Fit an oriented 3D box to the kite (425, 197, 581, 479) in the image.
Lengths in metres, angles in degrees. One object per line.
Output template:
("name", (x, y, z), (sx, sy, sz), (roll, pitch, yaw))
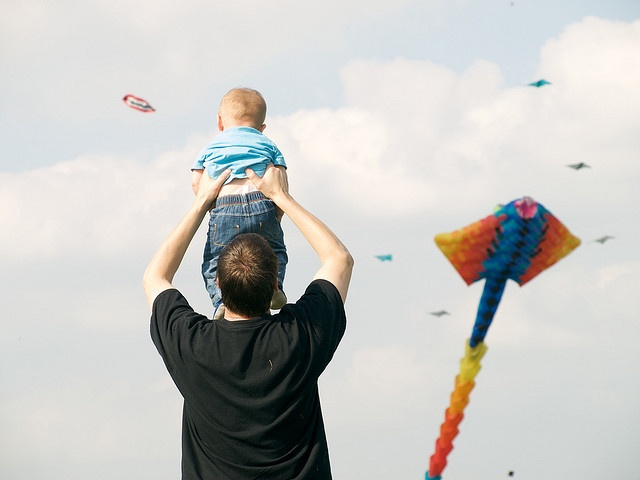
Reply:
("kite", (1.109, 0.638, 9.176), (1.002, 1.737, 0.519), (-5, -7, 37))
